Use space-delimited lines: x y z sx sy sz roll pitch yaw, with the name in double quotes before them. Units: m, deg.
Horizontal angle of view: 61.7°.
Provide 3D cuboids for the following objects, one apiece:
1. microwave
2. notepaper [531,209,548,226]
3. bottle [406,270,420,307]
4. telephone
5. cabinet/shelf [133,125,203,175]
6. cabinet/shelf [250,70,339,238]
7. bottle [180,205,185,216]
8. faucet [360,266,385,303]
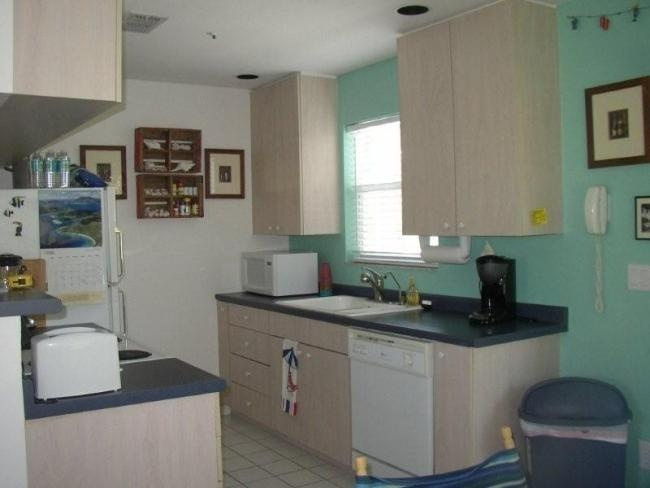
"microwave" -0.381 0.253 4.870 0.387 0.360 0.561 1 0 -33
"notepaper" 1.286 -0.164 3.255 0.141 0.104 0.038 -5 4 -39
"bottle" 0.671 0.345 4.165 0.101 0.206 0.234 -2 3 8
"telephone" 1.593 0.033 3.184 0.120 0.732 0.049 0 3 29
"cabinet/shelf" -1.440 -0.846 4.912 0.447 0.342 0.138 -2 3 -34
"cabinet/shelf" -0.321 -0.798 4.983 0.903 1.416 0.403 0 4 36
"bottle" -1.296 -0.314 4.979 0.062 0.088 0.064 1 -1 0
"faucet" 0.386 0.319 4.358 0.226 0.262 0.176 -3 3 -10
